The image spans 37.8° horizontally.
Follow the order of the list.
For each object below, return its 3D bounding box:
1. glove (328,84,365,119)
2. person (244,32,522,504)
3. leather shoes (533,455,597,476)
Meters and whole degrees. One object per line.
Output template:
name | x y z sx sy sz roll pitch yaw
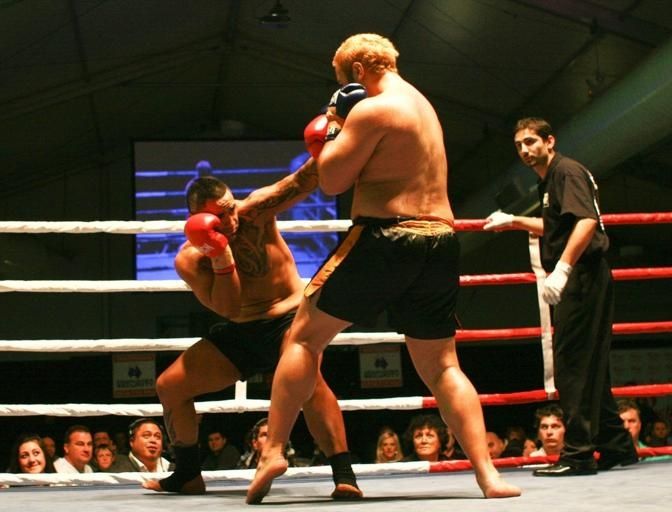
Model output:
glove | 0.097 -0.987 6.260 0.247 0.185 0.177 10 20 29
person | 0.273 0.055 6.229 1.416 2.983 0.424 -4 -5 -12
leather shoes | 1.571 1.455 6.740 0.447 0.118 0.136 0 -21 2
